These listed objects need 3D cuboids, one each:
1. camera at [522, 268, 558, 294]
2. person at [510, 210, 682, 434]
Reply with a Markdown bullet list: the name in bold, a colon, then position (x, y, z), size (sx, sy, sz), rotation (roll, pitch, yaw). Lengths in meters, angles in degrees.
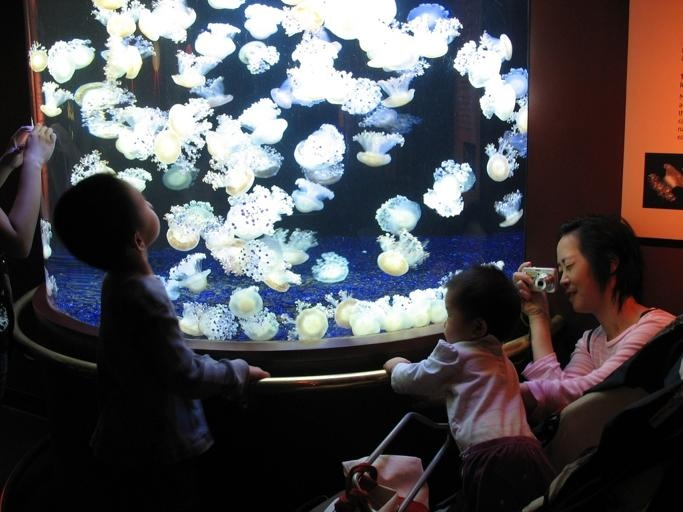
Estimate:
- **camera**: position (0.750, 0.070, 2.083), size (0.124, 0.094, 0.081), rotation (1, 3, 43)
- **person**: position (0.884, 0.295, 1.978), size (0.464, 0.877, 0.583), rotation (25, -25, -32)
